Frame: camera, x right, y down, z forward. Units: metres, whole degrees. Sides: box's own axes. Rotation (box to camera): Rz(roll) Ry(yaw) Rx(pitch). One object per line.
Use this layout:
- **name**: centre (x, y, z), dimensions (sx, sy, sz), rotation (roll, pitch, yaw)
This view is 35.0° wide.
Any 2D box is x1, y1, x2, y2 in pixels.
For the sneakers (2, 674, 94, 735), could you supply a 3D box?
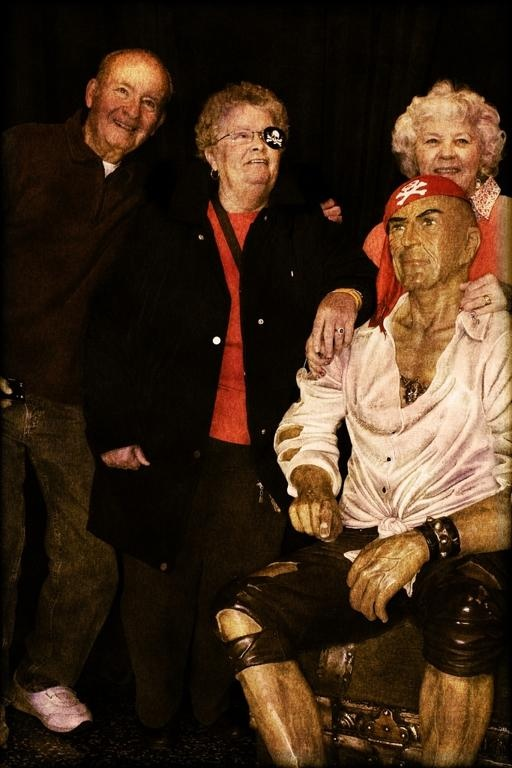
- **sneakers**: centre (-0.589, 0.893, 2.293), dimensions (0.225, 0.083, 0.107), rotation (11, 29, 22)

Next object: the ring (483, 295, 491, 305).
- **ring**: centre (0.584, -0.214, 2.062), dimensions (0.023, 0.019, 0.021), rotation (-3, 60, 5)

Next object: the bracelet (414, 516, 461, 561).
- **bracelet**: centre (0.449, 0.373, 1.993), dimensions (0.080, 0.089, 0.087), rotation (-1, 21, -19)
